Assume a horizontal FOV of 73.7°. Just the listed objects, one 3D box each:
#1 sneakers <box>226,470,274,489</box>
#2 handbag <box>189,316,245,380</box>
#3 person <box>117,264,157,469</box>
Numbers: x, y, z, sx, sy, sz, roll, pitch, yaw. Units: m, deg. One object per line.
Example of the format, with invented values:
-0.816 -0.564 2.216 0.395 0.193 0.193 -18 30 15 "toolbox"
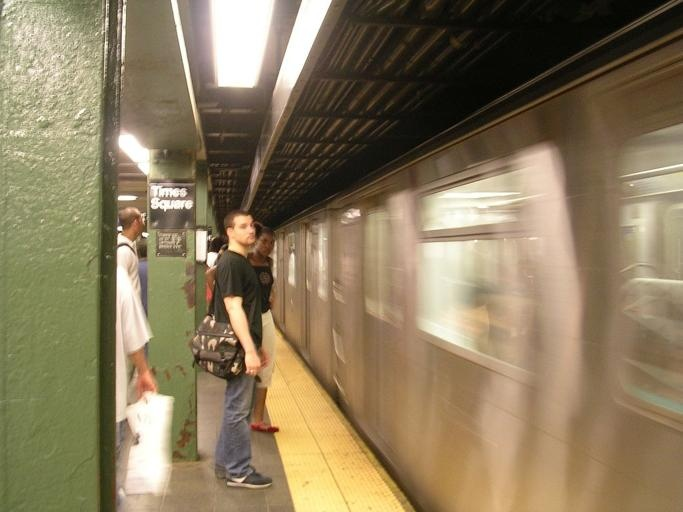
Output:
-0.767 1.876 3.880 0.414 0.185 0.157 1 -9 -6 "sneakers"
-0.973 0.680 3.589 0.376 0.529 0.286 4 7 25 "handbag"
-1.182 0.575 2.604 0.220 0.825 0.690 2 -1 -26 "person"
